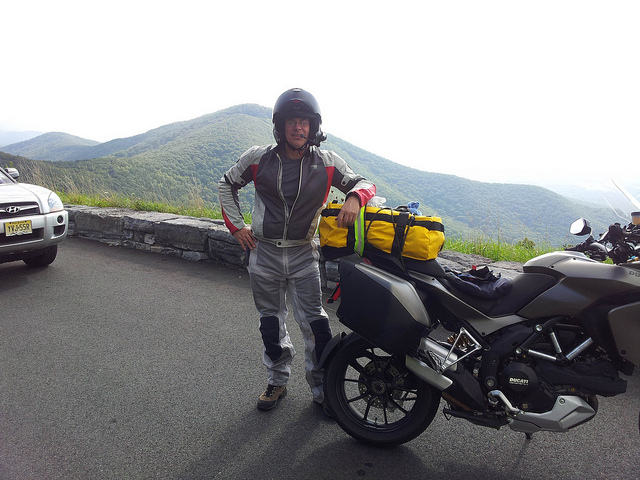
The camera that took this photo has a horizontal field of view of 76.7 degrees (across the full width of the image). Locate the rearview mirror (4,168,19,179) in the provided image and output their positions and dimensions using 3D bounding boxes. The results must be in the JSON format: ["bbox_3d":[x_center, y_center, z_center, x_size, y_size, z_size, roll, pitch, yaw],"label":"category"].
[{"bbox_3d":[-4.871,-1.057,6.414,0.195,0.188,0.150,-5,12,-12],"label":"rearview mirror"}]

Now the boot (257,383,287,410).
[{"bbox_3d":[-0.416,1.308,3.510,0.122,0.126,0.290,18,18,23],"label":"boot"}]

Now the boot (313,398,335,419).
[{"bbox_3d":[0.027,1.407,3.385,0.069,0.083,0.203,-1,-1,-32],"label":"boot"}]

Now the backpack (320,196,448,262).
[{"bbox_3d":[0.487,-0.105,3.008,0.716,0.332,0.489,2,23,17],"label":"backpack"}]

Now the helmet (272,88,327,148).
[{"bbox_3d":[-0.168,-0.965,3.204,0.421,0.454,0.190,1,12,-7],"label":"helmet"}]
